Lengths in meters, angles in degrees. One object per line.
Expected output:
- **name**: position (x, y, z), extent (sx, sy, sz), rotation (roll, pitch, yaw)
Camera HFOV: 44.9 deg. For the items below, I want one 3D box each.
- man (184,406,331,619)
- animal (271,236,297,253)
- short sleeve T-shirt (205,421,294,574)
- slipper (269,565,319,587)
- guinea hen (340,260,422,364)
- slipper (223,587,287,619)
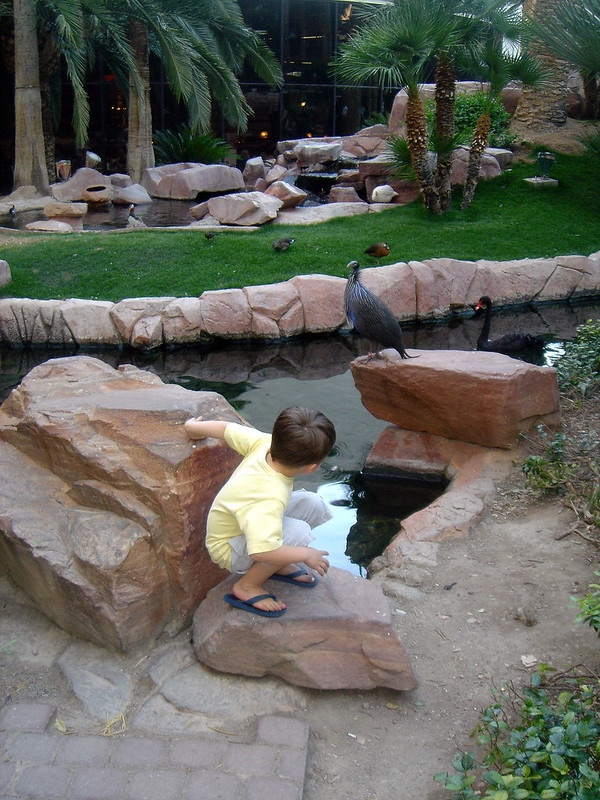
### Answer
- **man**: position (-0.183, 0.454, 2.801), extent (0.513, 0.655, 0.609), rotation (-7, 44, -18)
- **animal**: position (-0.221, -2.334, 10.829), extent (0.169, 0.140, 0.358), rotation (2, 18, 19)
- **short sleeve T-shirt**: position (-0.196, 0.413, 2.747), extent (0.338, 0.508, 0.571), rotation (-3, 20, 0)
- **slipper**: position (-0.027, 0.700, 2.910), extent (0.187, 0.040, 0.070), rotation (2, 28, 17)
- **guinea hen**: position (0.561, -0.702, 5.899), extent (0.689, 0.907, 0.872), rotation (-8, 23, -21)
- **slipper**: position (-0.170, 0.769, 2.776), extent (0.184, 0.051, 0.095), rotation (9, 16, 23)
